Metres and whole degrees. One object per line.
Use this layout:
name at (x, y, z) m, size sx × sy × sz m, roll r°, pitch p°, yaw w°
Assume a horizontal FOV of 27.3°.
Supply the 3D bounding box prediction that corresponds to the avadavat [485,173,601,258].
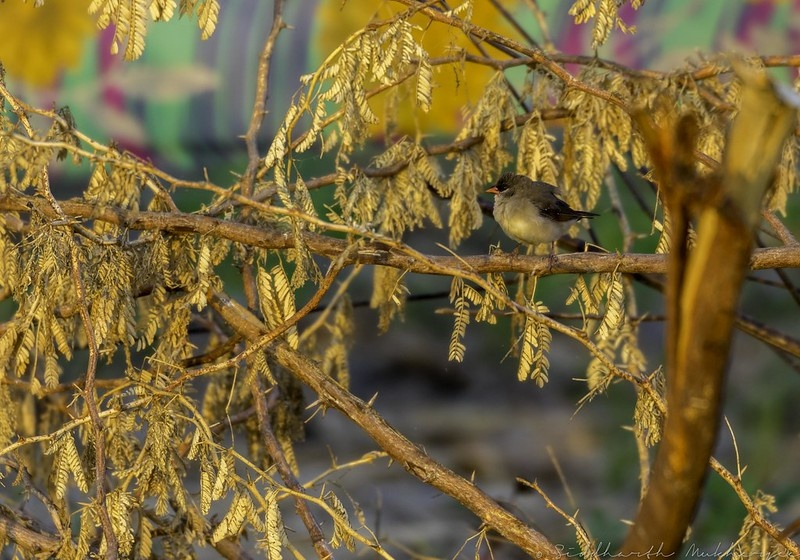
avadavat at (1.131, -0.542, 12.633) m, size 0.838 × 0.657 × 0.492 m, roll -6°, pitch -2°, yaw -26°
